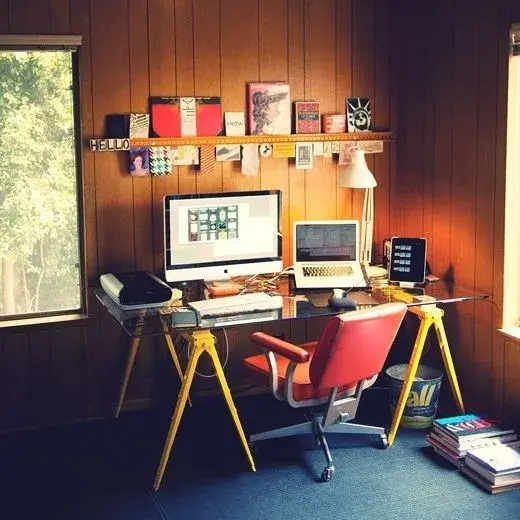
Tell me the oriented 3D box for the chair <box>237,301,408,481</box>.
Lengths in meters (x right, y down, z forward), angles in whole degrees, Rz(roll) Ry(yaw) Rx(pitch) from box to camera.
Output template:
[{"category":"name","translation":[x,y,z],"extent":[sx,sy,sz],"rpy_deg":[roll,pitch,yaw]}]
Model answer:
[{"category":"chair","translation":[0.283,0.522,2.596],"extent":[0.585,0.822,0.713],"rpy_deg":[-6,15,-24]}]

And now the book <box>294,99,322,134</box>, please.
[{"category":"book","translation":[0.271,-0.833,3.122],"extent":[0.142,0.232,0.215],"rpy_deg":[-1,16,0]}]

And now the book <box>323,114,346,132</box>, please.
[{"category":"book","translation":[0.452,-0.802,3.269],"extent":[0.155,0.137,0.095],"rpy_deg":[-2,9,-9]}]

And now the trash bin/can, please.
[{"category":"trash bin/can","translation":[0.836,0.737,2.966],"extent":[0.291,0.270,0.307],"rpy_deg":[-1,10,-1]}]

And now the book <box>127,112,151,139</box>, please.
[{"category":"book","translation":[-0.651,-0.709,2.900],"extent":[0.106,0.163,0.016],"rpy_deg":[6,4,-32]}]

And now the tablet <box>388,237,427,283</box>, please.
[{"category":"tablet","translation":[0.814,0.009,2.996],"extent":[0.193,0.298,0.026],"rpy_deg":[2,-1,27]}]

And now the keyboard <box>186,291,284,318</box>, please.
[{"category":"keyboard","translation":[-0.101,0.213,2.560],"extent":[0.271,0.043,0.172],"rpy_deg":[-6,9,-21]}]
